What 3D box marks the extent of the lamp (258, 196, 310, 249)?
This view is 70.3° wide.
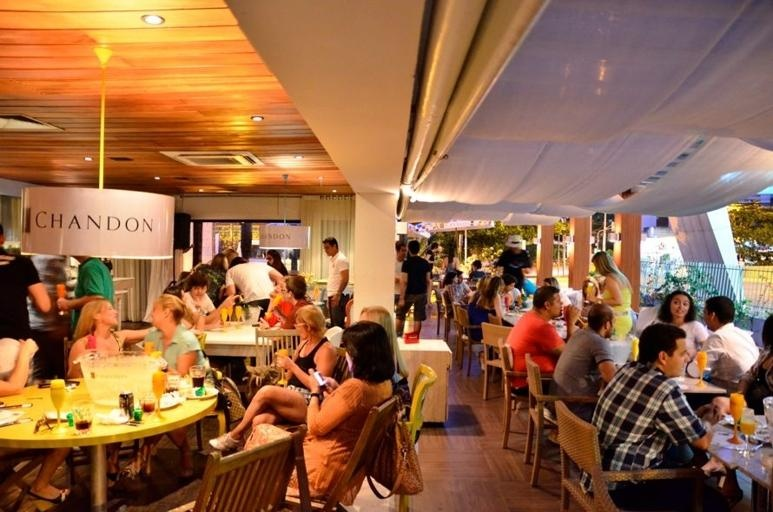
[{"bbox_3d":[-2.049,-0.520,11.370,0.752,0.699,0.701,1,-3,-2],"label":"lamp"}]

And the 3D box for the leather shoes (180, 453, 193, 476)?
[{"bbox_3d":[-1.734,1.817,4.790,0.095,0.177,0.128,-2,7,-21],"label":"leather shoes"}]

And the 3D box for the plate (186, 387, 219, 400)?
[{"bbox_3d":[-1.460,1.070,4.361,0.232,0.058,0.290,-1,6,-21],"label":"plate"}]

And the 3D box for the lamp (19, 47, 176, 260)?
[{"bbox_3d":[-2.020,-0.738,3.949,1.073,1.481,1.072,1,-1,-30],"label":"lamp"}]

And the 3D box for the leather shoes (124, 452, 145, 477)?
[{"bbox_3d":[-2.126,1.806,4.675,0.093,0.232,0.156,-9,33,-36],"label":"leather shoes"}]

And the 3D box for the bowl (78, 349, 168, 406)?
[{"bbox_3d":[-1.882,0.856,3.883,0.562,0.295,0.389,1,-3,2],"label":"bowl"}]

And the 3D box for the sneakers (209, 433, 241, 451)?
[{"bbox_3d":[-1.393,1.564,4.618,0.335,0.138,0.121,5,0,-7],"label":"sneakers"}]

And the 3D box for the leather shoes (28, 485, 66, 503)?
[{"bbox_3d":[-2.689,1.888,4.365,0.252,0.063,0.111,5,3,-17],"label":"leather shoes"}]

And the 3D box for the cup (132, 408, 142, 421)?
[{"bbox_3d":[-1.722,1.105,3.834,0.068,0.091,0.067,-2,-1,0],"label":"cup"}]

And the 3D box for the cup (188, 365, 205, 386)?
[{"bbox_3d":[-1.509,0.974,4.409,0.109,0.159,0.163,-1,7,-19],"label":"cup"}]

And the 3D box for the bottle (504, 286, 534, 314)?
[{"bbox_3d":[2.139,0.728,8.983,0.382,0.181,0.499,-1,11,3],"label":"bottle"}]

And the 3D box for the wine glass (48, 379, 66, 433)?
[{"bbox_3d":[-2.207,1.022,3.702,0.149,0.369,0.140,0,38,-25],"label":"wine glass"}]

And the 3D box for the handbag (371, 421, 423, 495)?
[{"bbox_3d":[0.059,1.338,3.596,0.324,0.526,0.174,0,7,-10],"label":"handbag"}]
